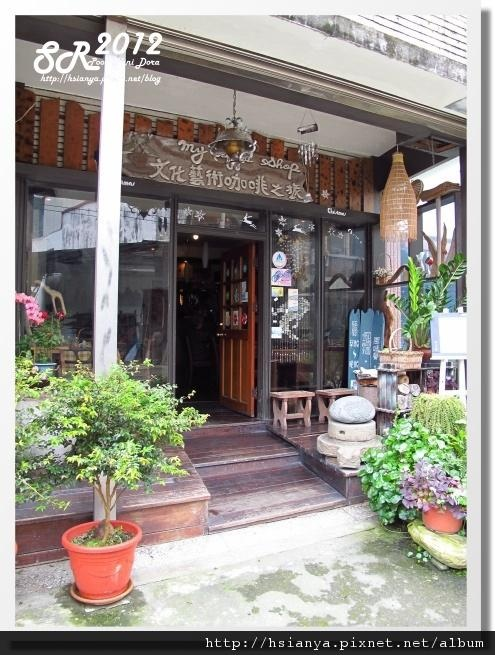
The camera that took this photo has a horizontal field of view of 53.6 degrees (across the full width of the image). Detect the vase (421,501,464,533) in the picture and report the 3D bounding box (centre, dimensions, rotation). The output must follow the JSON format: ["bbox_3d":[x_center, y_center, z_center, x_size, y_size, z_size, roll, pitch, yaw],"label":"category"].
[{"bbox_3d":[1.178,1.097,2.930,0.182,0.145,0.192,10,-12,-40],"label":"vase"}]

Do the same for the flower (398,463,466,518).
[{"bbox_3d":[1.105,0.942,2.947,0.305,0.223,0.306,7,-12,-29],"label":"flower"}]

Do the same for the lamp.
[{"bbox_3d":[-0.149,-1.820,4.485,0.436,0.674,1.132,1,4,0],"label":"lamp"}]

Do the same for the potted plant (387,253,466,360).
[{"bbox_3d":[1.623,-0.243,4.785,0.901,0.938,0.804,5,5,43],"label":"potted plant"}]

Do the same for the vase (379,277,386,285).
[{"bbox_3d":[1.704,-0.585,6.173,0.071,0.102,0.098,5,15,-19],"label":"vase"}]

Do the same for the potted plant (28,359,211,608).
[{"bbox_3d":[-0.731,0.817,2.668,0.751,1.132,0.953,13,-21,-36],"label":"potted plant"}]
